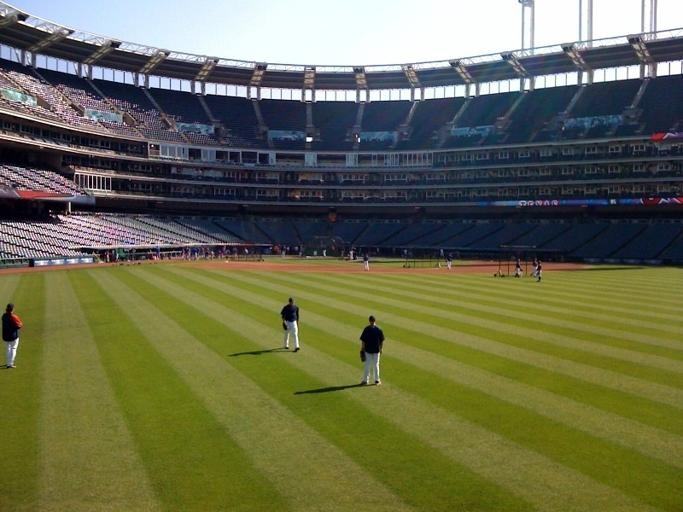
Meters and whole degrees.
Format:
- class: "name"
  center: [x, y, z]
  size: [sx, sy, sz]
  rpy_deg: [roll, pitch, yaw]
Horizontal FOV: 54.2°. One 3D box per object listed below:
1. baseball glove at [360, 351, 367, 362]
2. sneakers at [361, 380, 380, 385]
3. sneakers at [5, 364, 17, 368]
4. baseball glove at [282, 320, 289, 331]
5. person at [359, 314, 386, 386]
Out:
- class: "baseball glove"
  center: [0.698, 3.078, 20.441]
  size: [0.133, 0.441, 0.305]
  rpy_deg: [-1, 13, -3]
- class: "sneakers"
  center: [0.917, 3.944, 20.741]
  size: [0.578, 0.206, 0.179]
  rpy_deg: [-1, -3, -4]
- class: "sneakers"
  center: [-10.669, 3.648, 21.872]
  size: [0.301, 0.106, 0.102]
  rpy_deg: [-1, 0, -3]
- class: "baseball glove"
  center: [-1.912, 2.492, 23.645]
  size: [0.132, 0.391, 0.213]
  rpy_deg: [-3, 14, -12]
- class: "person"
  center: [0.968, 2.901, 20.935]
  size: [0.695, 2.229, 1.373]
  rpy_deg: [0, 14, 3]
